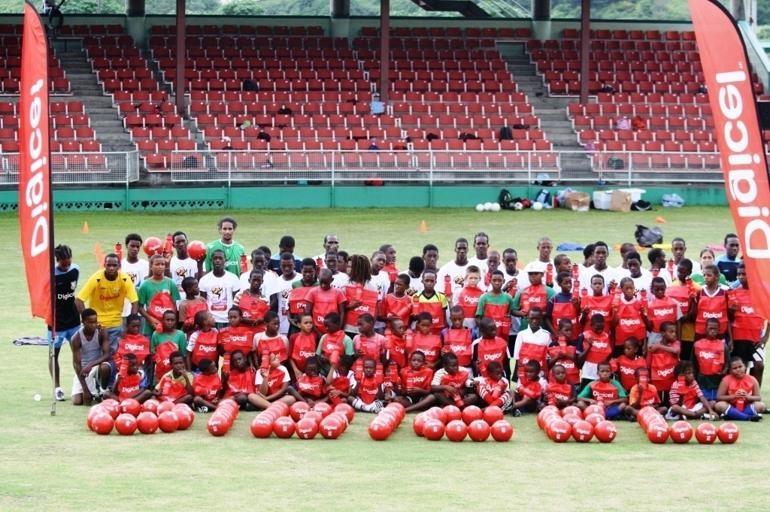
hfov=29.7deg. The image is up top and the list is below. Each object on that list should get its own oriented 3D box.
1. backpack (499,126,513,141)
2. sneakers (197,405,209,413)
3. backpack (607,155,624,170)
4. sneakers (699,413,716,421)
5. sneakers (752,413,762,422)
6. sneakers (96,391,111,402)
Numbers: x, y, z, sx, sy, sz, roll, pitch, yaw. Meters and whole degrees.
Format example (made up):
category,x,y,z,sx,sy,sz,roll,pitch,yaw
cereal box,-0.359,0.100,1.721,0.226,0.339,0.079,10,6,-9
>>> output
category,x,y,z,sx,sy,sz,roll,pitch,yaw
backpack,3.942,-3.911,46.145,0.419,0.352,0.871,2,14,4
sneakers,-2.919,2.486,23.450,0.142,0.090,0.070,-2,32,35
backpack,7.102,-2.841,44.074,0.658,0.348,0.480,-3,1,-15
sneakers,5.228,2.587,23.258,0.244,0.111,0.091,-3,3,4
sneakers,6.026,2.595,23.204,0.206,0.083,0.092,-3,15,-17
sneakers,-4.545,2.279,23.565,0.119,0.148,0.350,-1,5,-13
